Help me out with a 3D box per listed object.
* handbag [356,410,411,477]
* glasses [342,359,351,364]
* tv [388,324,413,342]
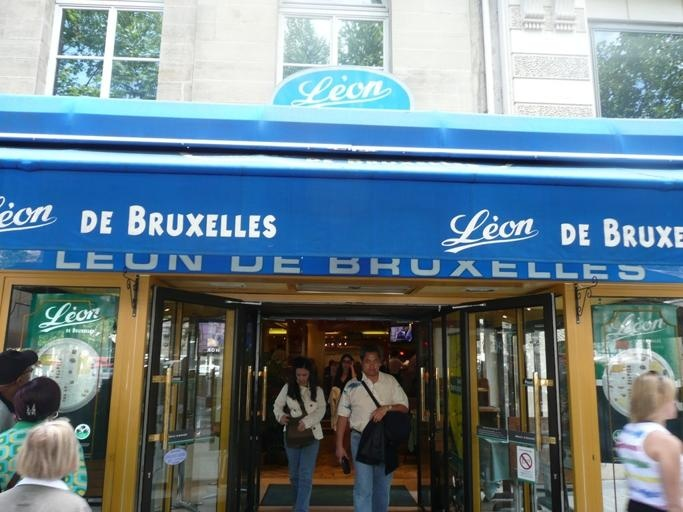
[{"bbox_3d":[0.373,2.016,6.744,0.649,0.600,0.253,16,-4,-38],"label":"handbag"},{"bbox_3d":[0.084,1.894,10.852,0.180,0.109,0.219,-1,-3,1],"label":"glasses"},{"bbox_3d":[1.516,1.945,15.544,0.922,0.620,0.086,0,-4,6],"label":"tv"}]
